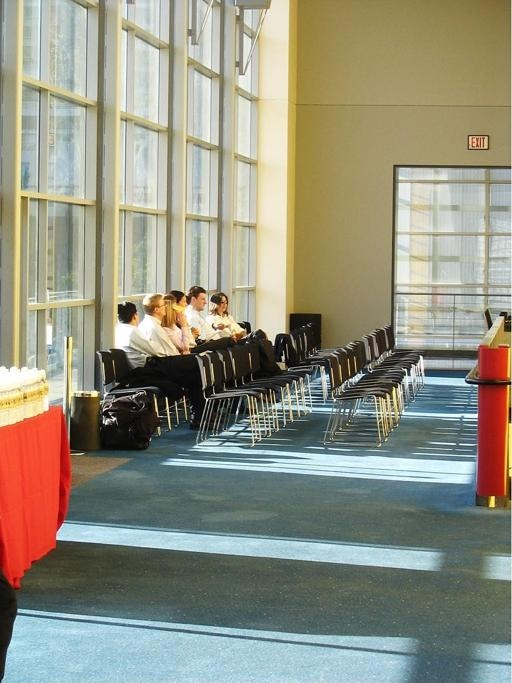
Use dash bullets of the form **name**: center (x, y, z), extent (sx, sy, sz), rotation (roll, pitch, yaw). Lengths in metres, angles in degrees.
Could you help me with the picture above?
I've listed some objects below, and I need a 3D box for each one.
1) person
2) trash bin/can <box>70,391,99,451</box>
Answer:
- **person**: center (-1.061, 0.240, 7.301), extent (0.744, 1.585, 1.006), rotation (-1, -2, 39)
- **trash bin/can**: center (-1.707, 0.850, 6.389), extent (0.350, 0.675, 0.354), rotation (0, 1, -37)
